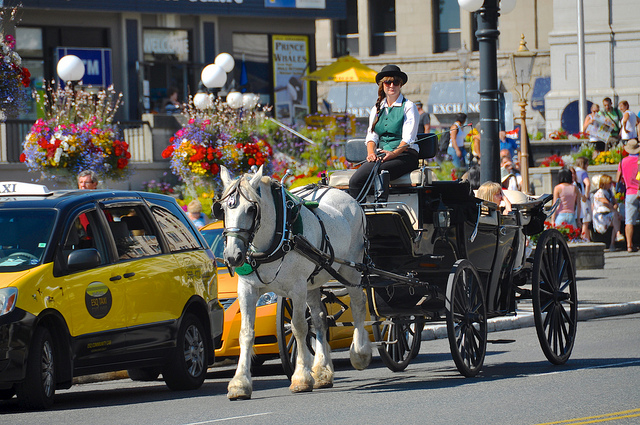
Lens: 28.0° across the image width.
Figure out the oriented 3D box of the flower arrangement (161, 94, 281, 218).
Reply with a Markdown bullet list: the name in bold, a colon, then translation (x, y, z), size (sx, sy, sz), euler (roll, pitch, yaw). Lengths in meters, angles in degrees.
- **flower arrangement**: translation (-2.873, -1.133, 31.718), size (1.515, 1.800, 1.594), euler (2, 14, -11)

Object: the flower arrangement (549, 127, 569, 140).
- **flower arrangement**: translation (7.768, -2.545, 41.793), size (0.455, 0.338, 0.595), euler (0, 4, 6)

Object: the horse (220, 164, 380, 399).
- **horse**: translation (-0.417, 1.058, 21.396), size (2.804, 3.755, 0.898), euler (-7, 9, -38)

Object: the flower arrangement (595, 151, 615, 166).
- **flower arrangement**: translation (8.425, -1.620, 38.125), size (0.496, 0.347, 0.661), euler (-1, 7, 4)

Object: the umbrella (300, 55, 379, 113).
- **umbrella**: translation (0.758, -4.742, 42.897), size (2.089, 0.823, 1.480), euler (-1, 7, 0)

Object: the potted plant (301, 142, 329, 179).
- **potted plant**: translation (-0.109, -1.518, 39.119), size (1.129, 1.026, 1.220), euler (2, 6, -1)

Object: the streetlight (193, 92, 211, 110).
- **streetlight**: translation (-3.206, -3.003, 34.814), size (0.548, 0.544, 0.546), euler (1, 0, 13)

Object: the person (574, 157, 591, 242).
- **person**: translation (7.125, -0.400, 34.733), size (0.615, 2.386, 0.502), euler (0, 0, 5)

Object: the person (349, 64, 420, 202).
- **person**: translation (1.024, -1.395, 22.739), size (0.943, 2.454, 1.210), euler (1, 1, 41)
